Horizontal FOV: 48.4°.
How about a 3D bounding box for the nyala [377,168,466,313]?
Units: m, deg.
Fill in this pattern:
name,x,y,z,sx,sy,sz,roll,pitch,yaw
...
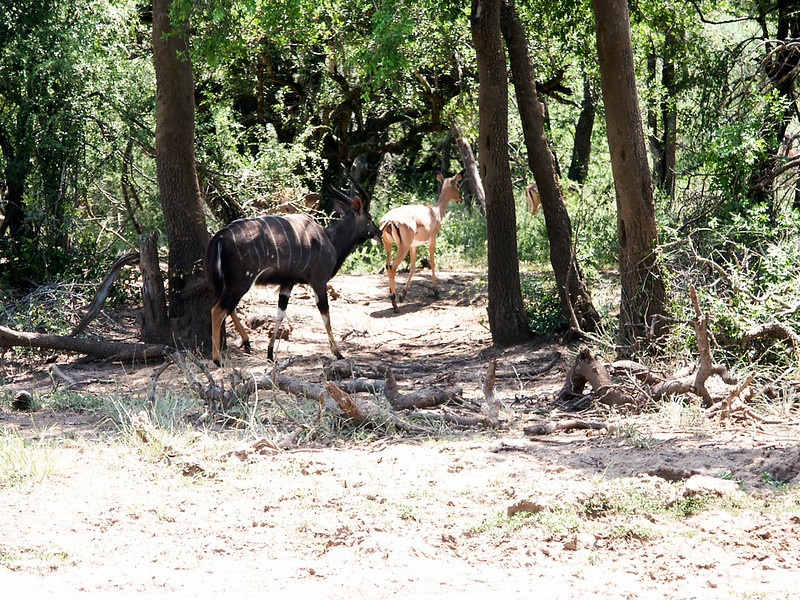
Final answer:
name,x,y,z,sx,sy,sz,roll,pitch,yaw
nyala,0.450,-1.152,17.741,0.640,2.552,2.497,5,8,36
